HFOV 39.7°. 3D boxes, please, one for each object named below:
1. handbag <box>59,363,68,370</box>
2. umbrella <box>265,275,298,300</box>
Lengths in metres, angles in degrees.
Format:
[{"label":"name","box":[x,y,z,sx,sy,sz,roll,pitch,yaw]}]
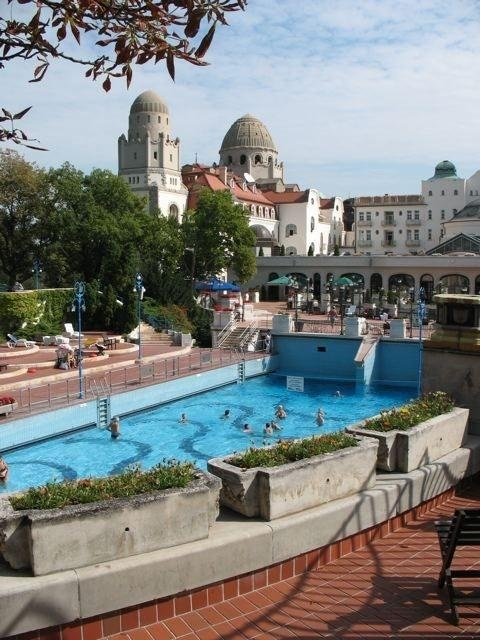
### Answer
[{"label":"handbag","box":[-5.990,1.569,22.685,0.242,0.210,0.244,0,1,1]},{"label":"umbrella","box":[3.057,-1.876,45.256,2.242,0.964,2.221,0,3,-13]}]
